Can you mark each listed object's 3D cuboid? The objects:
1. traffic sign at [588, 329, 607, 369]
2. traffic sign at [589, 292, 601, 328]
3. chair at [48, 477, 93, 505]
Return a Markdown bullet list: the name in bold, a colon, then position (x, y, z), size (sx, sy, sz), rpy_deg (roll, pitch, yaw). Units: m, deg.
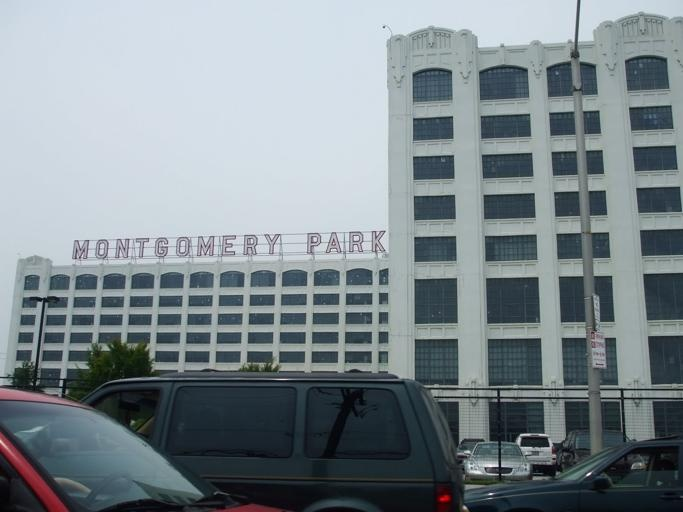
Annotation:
- **traffic sign**: position (6.126, 2.219, 18.165), size (0.305, 0.893, 0.901), rpy_deg (-2, -10, 21)
- **traffic sign**: position (6.064, 1.316, 18.154), size (0.122, 0.815, 0.430), rpy_deg (-4, -12, 32)
- **chair**: position (-2.655, 2.290, 7.468), size (0.364, 0.258, 0.263), rpy_deg (4, -9, -15)
